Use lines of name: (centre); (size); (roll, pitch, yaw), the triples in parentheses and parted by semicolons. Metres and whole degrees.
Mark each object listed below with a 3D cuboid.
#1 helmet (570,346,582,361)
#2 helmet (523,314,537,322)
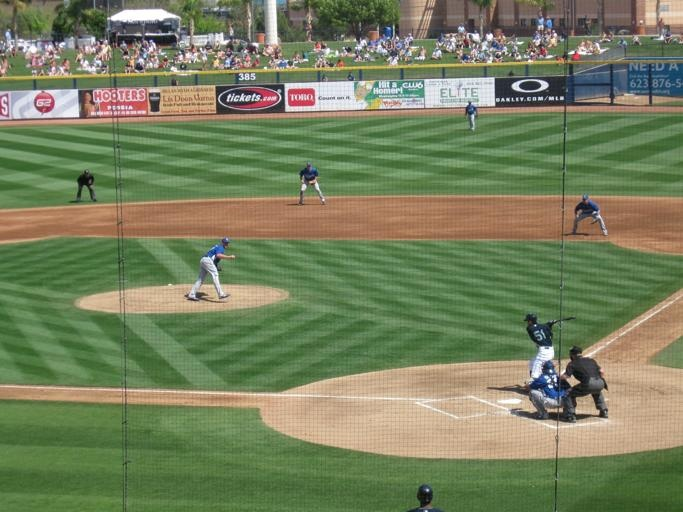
helmet: (9.737, 4.059, 76.323); (0.489, 0.537, 0.573); (3, 18, -9)
helmet: (7.978, 2.706, 77.463); (0.343, 0.370, 0.412); (-2, 13, -18)
